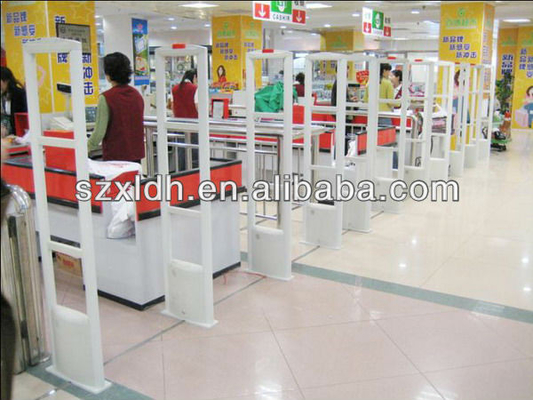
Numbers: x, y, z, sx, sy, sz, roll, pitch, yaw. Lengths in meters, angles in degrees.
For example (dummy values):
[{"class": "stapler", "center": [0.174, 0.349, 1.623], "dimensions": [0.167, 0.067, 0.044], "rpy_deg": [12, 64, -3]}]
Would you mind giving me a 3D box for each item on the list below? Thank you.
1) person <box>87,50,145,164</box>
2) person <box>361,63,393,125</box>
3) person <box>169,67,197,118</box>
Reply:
[{"class": "person", "center": [-1.398, -0.837, 3.819], "dimensions": [0.576, 1.053, 0.324], "rpy_deg": [-12, 18, -37]}, {"class": "person", "center": [1.972, -1.889, 7.186], "dimensions": [0.502, 1.118, 3.182], "rpy_deg": [4, 16, 15]}, {"class": "person", "center": [-1.176, -1.556, 5.856], "dimensions": [0.363, 0.692, 0.763], "rpy_deg": [-3, 16, -11]}]
